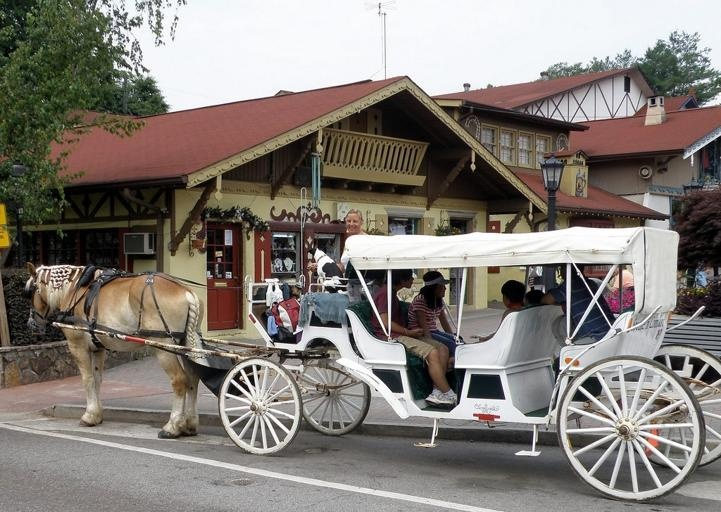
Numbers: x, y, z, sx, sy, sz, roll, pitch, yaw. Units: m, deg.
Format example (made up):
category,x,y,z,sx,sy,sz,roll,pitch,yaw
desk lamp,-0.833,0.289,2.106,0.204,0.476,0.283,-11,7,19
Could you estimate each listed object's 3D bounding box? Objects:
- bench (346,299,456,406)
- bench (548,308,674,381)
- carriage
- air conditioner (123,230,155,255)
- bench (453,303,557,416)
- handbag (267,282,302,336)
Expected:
category,x,y,z,sx,sy,sz,roll,pitch,yaw
bench,0.585,1.340,12.499,1.450,1.154,1.044,-1,1,9
bench,3.224,1.056,11.086,0.742,0.690,1.391,-24,8,-25
carriage,0.293,1.255,13.070,8.918,3.021,2.918,1,-1,24
air conditioner,-5.249,-0.256,20.907,0.790,0.541,0.509,-1,-4,28
bench,2.053,1.484,12.120,1.048,1.404,1.831,-10,-9,33
handbag,-1.145,0.827,12.938,0.457,0.883,0.741,-2,-2,25
